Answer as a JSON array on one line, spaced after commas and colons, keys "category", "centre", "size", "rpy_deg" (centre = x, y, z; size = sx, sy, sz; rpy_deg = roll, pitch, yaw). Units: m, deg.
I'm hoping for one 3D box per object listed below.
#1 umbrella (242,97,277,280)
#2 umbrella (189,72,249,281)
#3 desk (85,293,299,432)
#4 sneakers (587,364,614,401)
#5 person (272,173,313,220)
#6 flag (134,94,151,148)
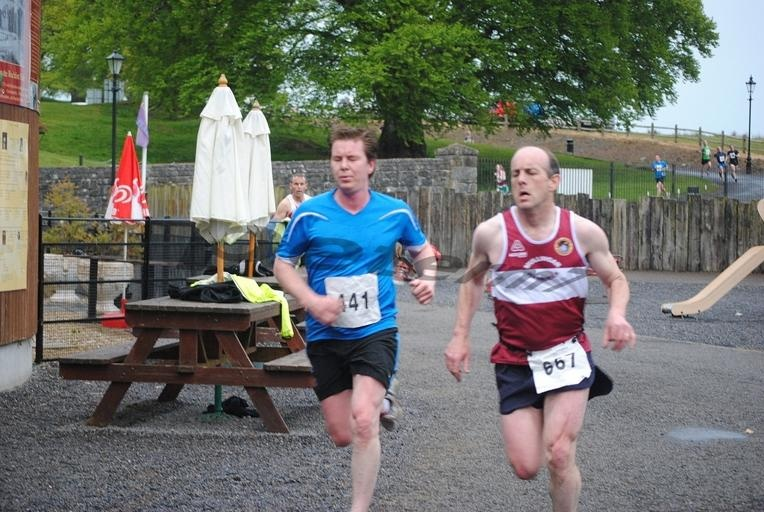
[{"category": "umbrella", "centre": [-1.869, -0.807, 12.408], "size": [0.608, 2.535, 0.628], "rpy_deg": [10, 19, 18]}, {"category": "umbrella", "centre": [-2.101, -1.027, 11.267], "size": [0.610, 2.611, 0.837], "rpy_deg": [3, 5, 40]}, {"category": "desk", "centre": [-2.534, 2.015, 10.764], "size": [2.513, 1.422, 2.935], "rpy_deg": [3, -39, -19]}, {"category": "sneakers", "centre": [1.950, 1.147, 7.738], "size": [0.204, 0.310, 0.077], "rpy_deg": [-28, 0, -5]}, {"category": "person", "centre": [-1.273, -0.833, 13.117], "size": [0.795, 0.790, 0.464], "rpy_deg": [-1, 1, -31]}, {"category": "flag", "centre": [-5.302, -2.909, 19.159], "size": [0.269, 1.376, 0.263], "rpy_deg": [9, -22, -22]}]
